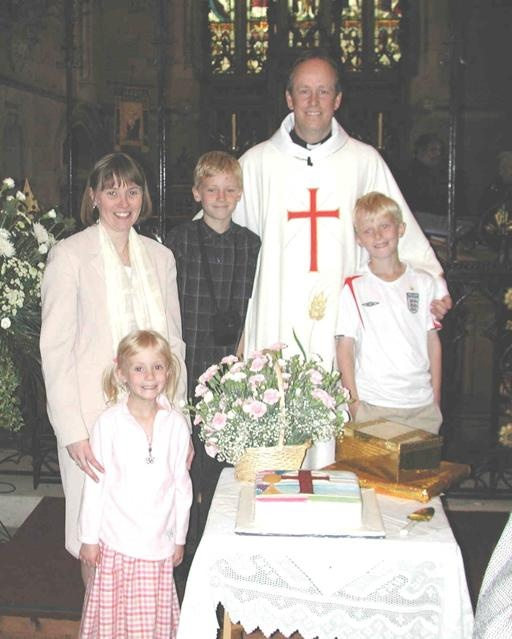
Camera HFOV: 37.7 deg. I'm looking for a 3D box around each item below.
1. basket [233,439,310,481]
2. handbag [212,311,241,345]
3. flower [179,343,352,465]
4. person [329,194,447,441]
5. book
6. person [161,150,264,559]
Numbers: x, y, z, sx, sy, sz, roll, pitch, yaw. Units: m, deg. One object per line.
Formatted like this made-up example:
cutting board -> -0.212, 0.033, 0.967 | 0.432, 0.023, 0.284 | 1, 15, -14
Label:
basket -> 0.040, 0.411, 2.287 | 0.147, 0.067, 0.149 | -4, -2, 9
handbag -> -0.128, 0.033, 3.070 | 0.116, 0.142, 0.078 | -3, 11, -16
flower -> 0.041, 0.265, 2.354 | 0.492, 0.339, 0.340 | 0, 11, 4
person -> 0.511, -0.022, 2.911 | 0.403, 0.915, 0.319 | 1, 11, 11
book -> 0.495, 0.486, 2.272 | 0.186, 0.032, 0.182 | -13, 15, -43
person -> -0.178, 0.154, 3.324 | 0.559, 1.657, 0.412 | -3, 30, -9
